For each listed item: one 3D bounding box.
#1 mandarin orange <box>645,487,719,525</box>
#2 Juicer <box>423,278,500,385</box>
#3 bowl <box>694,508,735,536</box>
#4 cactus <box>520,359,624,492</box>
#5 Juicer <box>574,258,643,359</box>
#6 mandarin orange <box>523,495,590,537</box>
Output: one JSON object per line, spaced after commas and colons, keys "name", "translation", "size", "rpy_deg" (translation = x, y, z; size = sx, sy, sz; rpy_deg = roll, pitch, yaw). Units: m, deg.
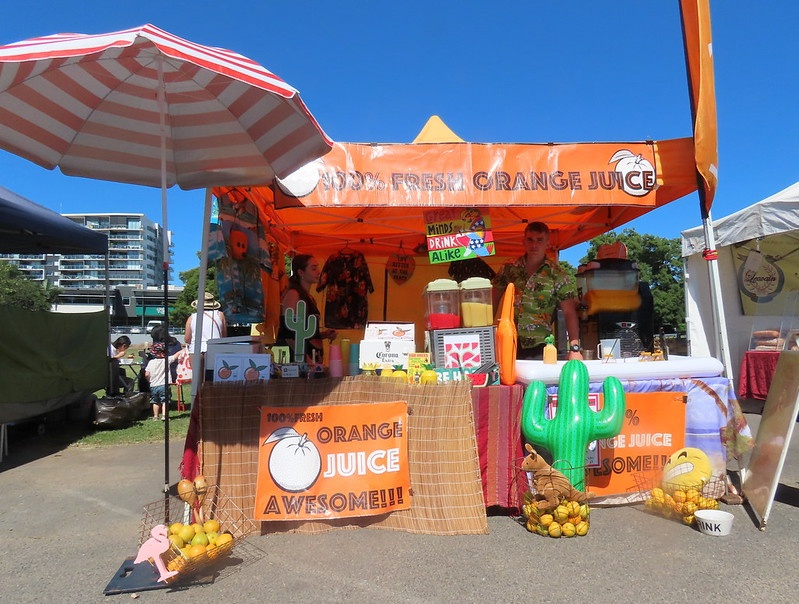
{"name": "mandarin orange", "translation": [2.369, 1.729, 4.654], "size": [0.549, 0.230, 0.434], "rpy_deg": [-5, 4, -11]}
{"name": "Juicer", "translation": [0.559, 0.248, 5.037], "size": [0.631, 0.905, 0.550], "rpy_deg": [-1, 5, 2]}
{"name": "bowl", "translation": [2.537, 1.772, 4.458], "size": [0.286, 0.165, 0.183], "rpy_deg": [1, 6, 21]}
{"name": "cactus", "translation": [1.432, 0.932, 4.758], "size": [0.689, 1.093, 0.686], "rpy_deg": [1, 7, 1]}
{"name": "Juicer", "translation": [2.399, 0.184, 6.166], "size": [0.701, 1.247, 0.768], "rpy_deg": [1, -16, 5]}
{"name": "mandarin orange", "translation": [1.253, 1.693, 4.645], "size": [0.607, 0.311, 0.411], "rpy_deg": [4, 4, -9]}
